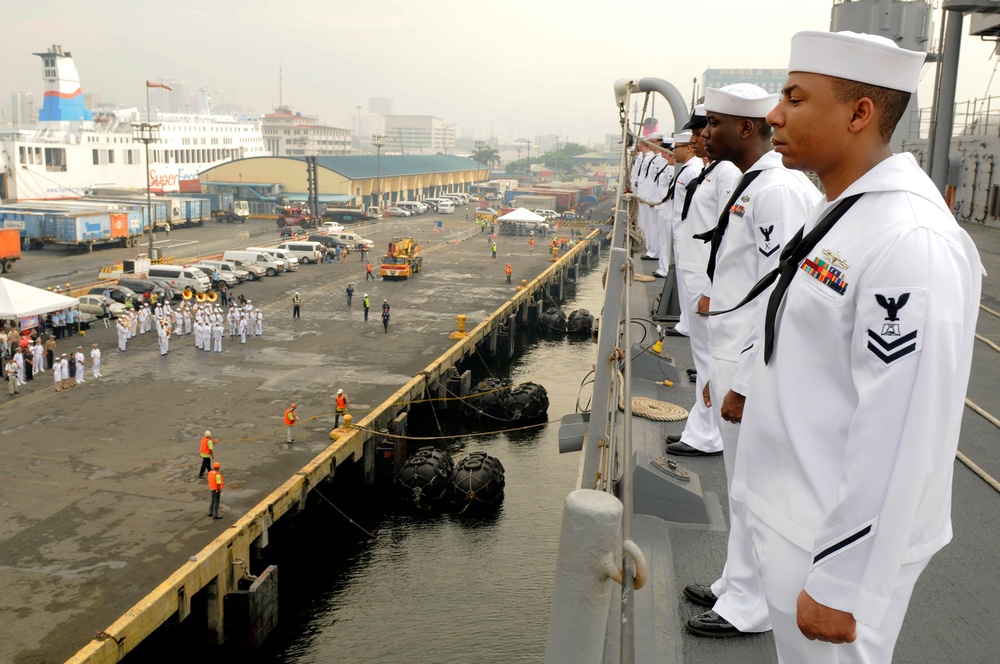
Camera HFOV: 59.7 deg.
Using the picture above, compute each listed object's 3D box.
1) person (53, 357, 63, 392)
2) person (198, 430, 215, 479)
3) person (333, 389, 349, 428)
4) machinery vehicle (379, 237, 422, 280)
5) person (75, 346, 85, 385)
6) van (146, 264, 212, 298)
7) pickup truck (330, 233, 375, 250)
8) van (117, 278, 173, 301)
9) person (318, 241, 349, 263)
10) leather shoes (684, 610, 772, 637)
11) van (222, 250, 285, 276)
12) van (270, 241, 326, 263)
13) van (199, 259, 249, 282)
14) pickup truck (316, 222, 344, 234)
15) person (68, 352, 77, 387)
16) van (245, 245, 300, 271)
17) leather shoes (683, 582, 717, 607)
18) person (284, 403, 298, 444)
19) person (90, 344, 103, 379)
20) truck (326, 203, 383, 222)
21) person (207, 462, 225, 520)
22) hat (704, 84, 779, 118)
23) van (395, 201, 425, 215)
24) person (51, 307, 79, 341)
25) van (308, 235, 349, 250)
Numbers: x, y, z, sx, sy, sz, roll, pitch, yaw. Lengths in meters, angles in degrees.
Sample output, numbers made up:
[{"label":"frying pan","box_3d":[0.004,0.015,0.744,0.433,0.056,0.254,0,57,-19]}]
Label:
[{"label":"person","box_3d":[-13.759,1.339,27.195,0.233,0.831,0.941,-5,14,-27]},{"label":"person","box_3d":[-6.859,2.819,20.329,0.301,1.208,0.651,-3,13,-19]},{"label":"person","box_3d":[-4.408,2.096,24.044,0.361,1.093,1.912,-2,13,-12]},{"label":"machinery vehicle","box_3d":[-5.829,-4.274,51.373,1.336,1.722,3.390,0,12,3]},{"label":"person","box_3d":[-13.470,1.139,27.996,0.231,0.928,0.768,-3,13,-20]},{"label":"van","box_3d":[-16.269,-2.462,44.360,2.529,1.316,1.499,0,17,-4]},{"label":"pickup truck","box_3d":[-10.625,-6.204,63.360,3.040,1.140,1.447,-1,23,-1]},{"label":"van","box_3d":[-16.762,-2.078,41.193,2.296,1.046,1.271,0,27,-10]},{"label":"person","box_3d":[-11.397,-5.366,60.481,1.317,0.676,1.864,-4,15,-24]},{"label":"leather shoes","box_3d":[1.961,2.443,7.456,0.637,0.275,0.261,4,7,5]},{"label":"van","box_3d":[-14.439,-3.860,51.546,2.818,1.299,1.521,-4,19,-28]},{"label":"van","box_3d":[-12.954,-5.321,57.711,2.253,1.097,1.375,9,19,2]},{"label":"van","box_3d":[-15.220,-3.165,47.814,2.156,0.992,1.209,4,32,-9]},{"label":"pickup truck","box_3d":[-14.465,-8.701,74.121,2.045,1.178,3.422,-2,11,-12]},{"label":"person","box_3d":[-13.531,1.238,27.709,0.235,0.842,0.552,-5,13,-25]},{"label":"van","box_3d":[-13.734,-4.347,53.146,2.640,1.374,1.655,-1,23,-9]},{"label":"leather shoes","box_3d":[1.813,2.376,7.910,0.295,0.133,0.132,25,6,16]},{"label":"person","box_3d":[-5.532,2.384,23.009,0.209,0.905,0.892,-2,12,-12]},{"label":"person","box_3d":[-13.276,0.977,28.731,0.265,0.908,0.926,-5,13,-26]},{"label":"truck","box_3d":[-15.253,-11.312,85.703,6.215,1.604,1.864,0,40,-5]},{"label":"person","box_3d":[-6.094,3.361,18.626,0.279,1.018,0.667,-3,13,-19]},{"label":"hat","box_3d":[2.262,-2.142,8.254,0.612,0.218,0.555,9,28,6]},{"label":"van","box_3d":[-9.457,-13.338,95.117,2.473,0.765,1.694,-4,27,-15]},{"label":"person","box_3d":[-17.041,-0.347,34.232,0.477,1.066,1.314,3,12,9]},{"label":"van","box_3d":[-12.349,-6.150,62.648,2.035,0.914,1.073,1,23,0]}]
